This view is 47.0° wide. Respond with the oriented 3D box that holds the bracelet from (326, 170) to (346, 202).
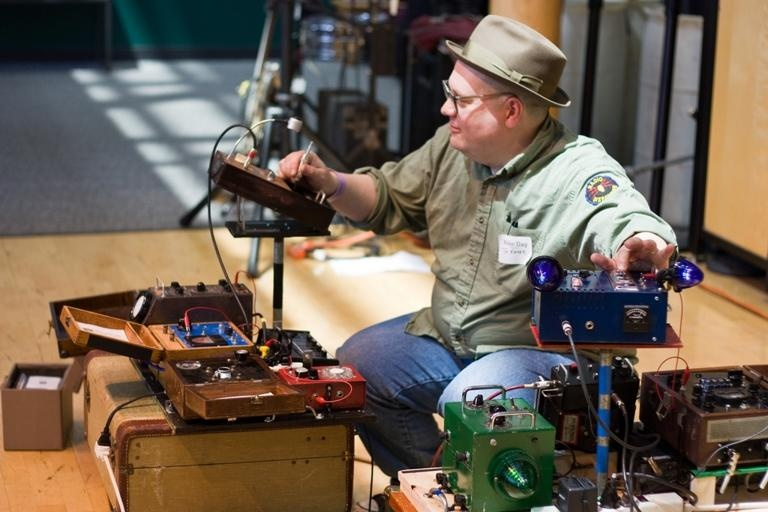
[{"bbox_3d":[-0.165,-0.251,3.237,0.061,0.088,0.085,6,8,-32],"label":"bracelet"}]
